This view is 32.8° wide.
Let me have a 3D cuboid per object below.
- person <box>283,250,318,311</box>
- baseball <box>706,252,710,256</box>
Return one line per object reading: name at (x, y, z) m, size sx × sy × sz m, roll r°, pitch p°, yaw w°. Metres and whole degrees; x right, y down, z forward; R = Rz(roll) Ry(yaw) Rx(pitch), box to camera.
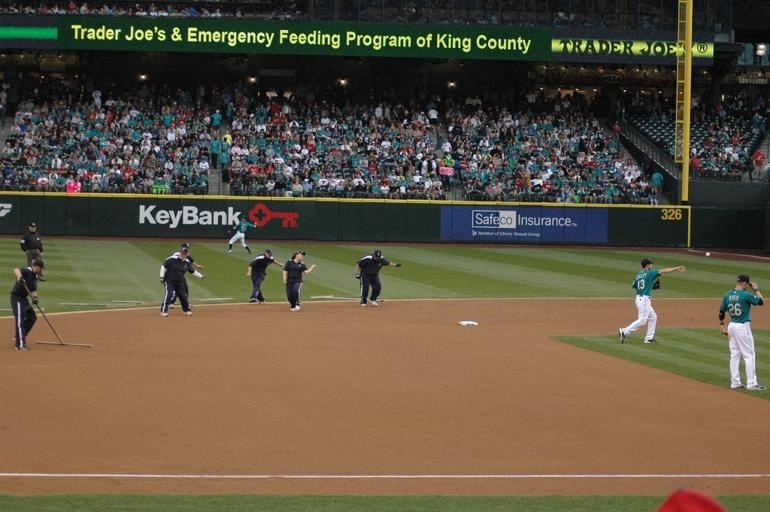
person at (-3.533, 1.027, 53.152) m, size 1.192 × 2.509 × 1.276 m, roll -1°, pitch 1°, yaw -37°
baseball at (17.041, -0.045, 68.712) m, size 0.208 × 0.154 × 0.208 m, roll 4°, pitch 9°, yaw 28°
